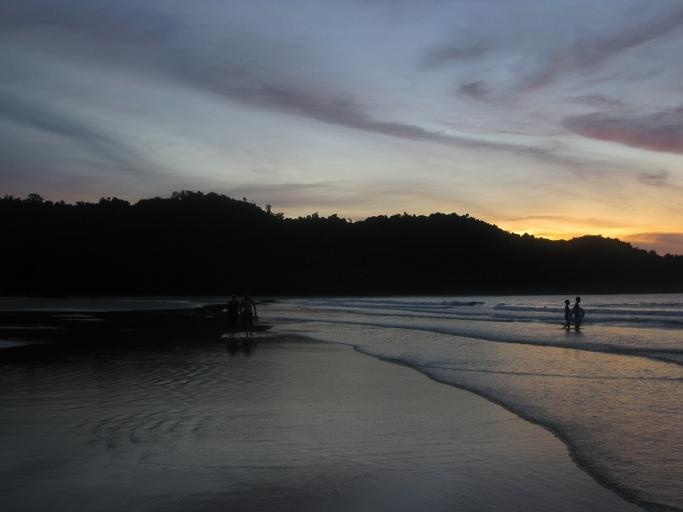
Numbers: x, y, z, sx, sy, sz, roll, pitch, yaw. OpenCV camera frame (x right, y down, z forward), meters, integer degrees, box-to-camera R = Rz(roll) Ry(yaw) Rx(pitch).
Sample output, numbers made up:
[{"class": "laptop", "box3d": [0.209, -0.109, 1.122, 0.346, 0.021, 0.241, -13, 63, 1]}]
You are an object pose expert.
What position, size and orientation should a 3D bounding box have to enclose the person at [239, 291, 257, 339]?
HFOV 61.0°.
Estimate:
[{"class": "person", "box3d": [-4.021, 2.586, 25.379, 0.726, 1.865, 0.989, -1, 2, -18]}]
